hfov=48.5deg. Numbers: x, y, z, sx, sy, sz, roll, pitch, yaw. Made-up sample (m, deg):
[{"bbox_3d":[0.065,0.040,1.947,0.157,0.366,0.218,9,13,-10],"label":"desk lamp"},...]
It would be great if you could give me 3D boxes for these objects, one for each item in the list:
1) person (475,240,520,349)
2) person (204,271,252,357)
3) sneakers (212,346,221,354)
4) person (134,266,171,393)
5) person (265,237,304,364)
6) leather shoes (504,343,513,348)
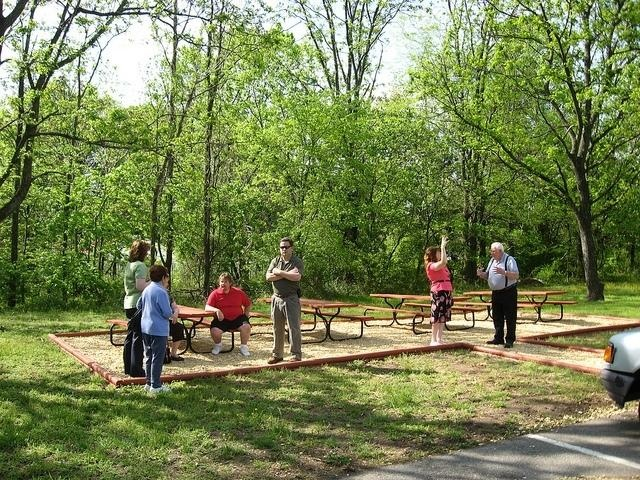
[{"bbox_3d":[3.584,1.099,14.143,0.700,2.109,1.156,4,11,15],"label":"person"},{"bbox_3d":[-1.765,1.415,13.665,0.845,1.565,1.236,-1,10,-9],"label":"person"},{"bbox_3d":[-1.977,2.069,13.482,0.187,0.172,0.294,0,10,-8],"label":"sneakers"},{"bbox_3d":[-2.586,1.371,11.173,0.540,1.883,0.922,-2,11,-15],"label":"person"},{"bbox_3d":[-0.627,1.115,12.577,0.624,2.201,0.738,1,10,-2],"label":"person"},{"bbox_3d":[3.648,2.048,13.766,0.108,0.054,0.150,-3,-1,7],"label":"leather shoes"}]
